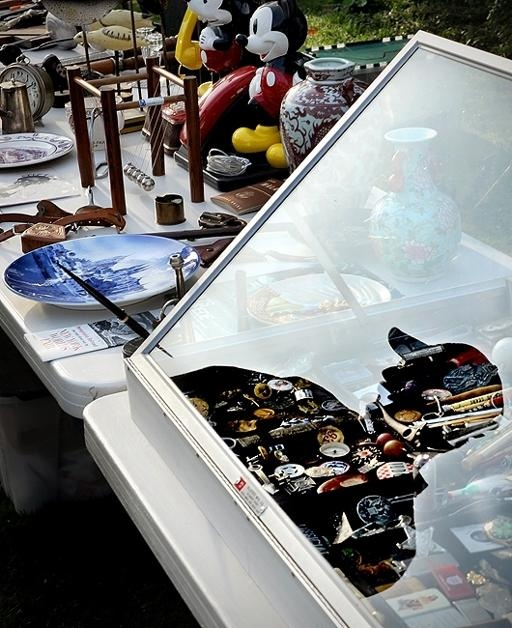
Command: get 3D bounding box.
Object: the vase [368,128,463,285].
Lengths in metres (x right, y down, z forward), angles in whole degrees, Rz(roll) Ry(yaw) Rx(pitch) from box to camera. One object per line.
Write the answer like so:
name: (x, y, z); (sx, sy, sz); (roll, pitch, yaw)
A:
vase: (0.149, -0.107, 0.536); (0.048, 0.139, 0.117); (-8, 29, -20)

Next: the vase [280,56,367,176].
vase: (0.204, -0.486, 1.397); (0.273, 0.286, 0.249); (18, 38, 16)

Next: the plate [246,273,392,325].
plate: (0.062, -0.017, 0.562); (0.143, 0.052, 0.056); (5, 26, 4)
